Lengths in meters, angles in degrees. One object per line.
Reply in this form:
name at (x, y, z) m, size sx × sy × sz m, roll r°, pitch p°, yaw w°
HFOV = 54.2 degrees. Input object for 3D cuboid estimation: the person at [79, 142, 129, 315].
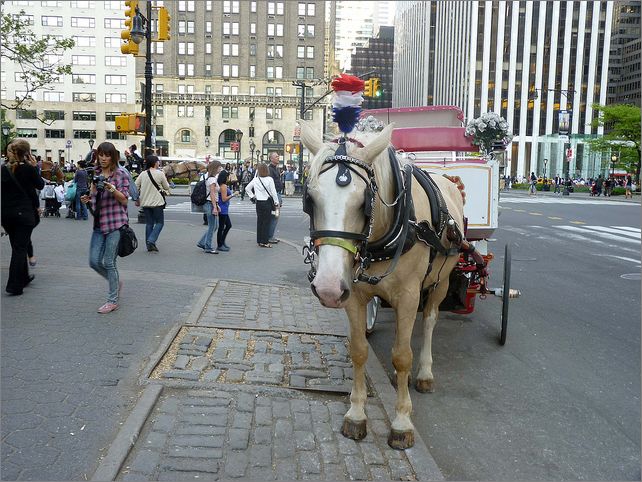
person at (-3.080, -0.214, 8.997) m, size 0.638 × 2.348 × 0.710 m, roll 12°, pitch 16°, yaw 34°

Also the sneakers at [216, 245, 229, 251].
sneakers at (-2.313, 0.167, 14.855) m, size 0.315 × 0.150 × 0.105 m, roll -5°, pitch 4°, yaw 6°

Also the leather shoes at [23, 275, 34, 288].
leather shoes at (-4.742, 0.636, 10.126) m, size 0.081 × 0.190 × 0.259 m, roll 9°, pitch 29°, yaw -21°

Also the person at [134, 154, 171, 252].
person at (-3.889, -0.869, 14.455) m, size 0.748 × 2.178 × 1.457 m, roll -2°, pitch 14°, yaw -16°

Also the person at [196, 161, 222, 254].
person at (-2.579, -0.772, 14.450) m, size 0.473 × 2.100 × 1.010 m, roll 0°, pitch 14°, yaw -10°

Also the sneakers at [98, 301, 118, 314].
sneakers at (-3.049, 0.968, 8.978) m, size 0.105 × 0.143 × 0.293 m, roll 3°, pitch -3°, yaw 6°

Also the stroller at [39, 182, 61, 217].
stroller at (-9.525, -1.455, 21.826) m, size 0.787 × 1.110 × 0.627 m, roll 10°, pitch 17°, yaw 24°

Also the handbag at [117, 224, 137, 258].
handbag at (-2.843, 0.008, 9.172) m, size 0.220 × 0.446 × 0.398 m, roll -6°, pitch 8°, yaw 7°

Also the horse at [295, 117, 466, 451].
horse at (0.869, 0.450, 7.175) m, size 1.106 × 3.428 × 3.842 m, roll 6°, pitch 10°, yaw 25°

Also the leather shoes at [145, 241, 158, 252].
leather shoes at (-3.791, 0.156, 14.088) m, size 0.120 × 0.380 × 0.170 m, roll 1°, pitch 54°, yaw 20°

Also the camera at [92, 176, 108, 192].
camera at (-3.107, -0.828, 8.834) m, size 0.107 × 0.217 × 0.185 m, roll -7°, pitch -11°, yaw 20°

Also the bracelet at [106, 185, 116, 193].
bracelet at (-2.943, -0.750, 8.814) m, size 0.093 × 0.050 × 0.118 m, roll 14°, pitch -13°, yaw 33°

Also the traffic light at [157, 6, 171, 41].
traffic light at (-4.494, -6.223, 17.864) m, size 0.299 × 0.947 × 1.283 m, roll -1°, pitch 15°, yaw -15°
